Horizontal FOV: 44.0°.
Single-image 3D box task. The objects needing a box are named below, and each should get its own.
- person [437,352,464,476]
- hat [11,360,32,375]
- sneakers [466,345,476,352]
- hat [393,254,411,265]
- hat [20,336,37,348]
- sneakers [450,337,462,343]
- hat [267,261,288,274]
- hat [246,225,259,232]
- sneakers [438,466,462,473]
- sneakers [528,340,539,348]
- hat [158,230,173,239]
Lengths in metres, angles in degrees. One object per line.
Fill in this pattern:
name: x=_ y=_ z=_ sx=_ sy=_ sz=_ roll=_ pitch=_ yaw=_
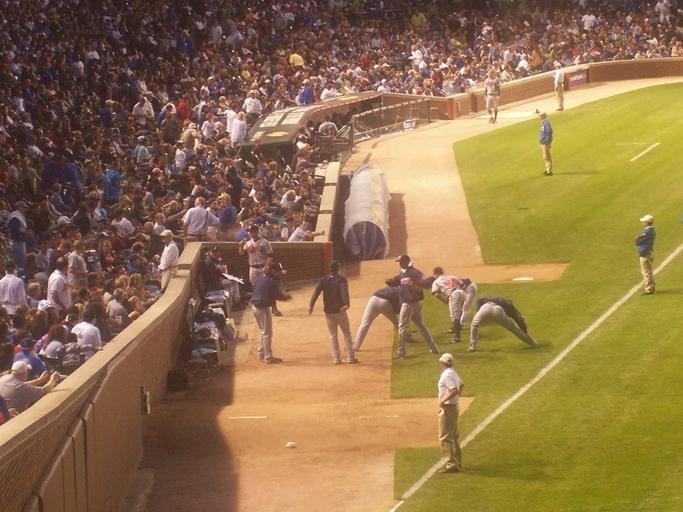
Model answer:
person: x=2.018 y=2.921 z=15.672 sx=0.428 sy=2.224 sz=0.367 roll=-1 pitch=9 yaw=6
hat: x=-5.974 y=2.053 z=15.754 sx=0.226 sy=0.190 sz=0.343 roll=1 pitch=4 yaw=2
sneakers: x=3.213 y=2.282 z=21.003 sx=0.184 sy=0.180 sz=0.099 roll=6 pitch=10 yaw=22
hat: x=1.478 y=0.123 z=20.835 sx=0.397 sy=0.342 sz=0.291 roll=9 pitch=15 yaw=25
hat: x=-6.417 y=1.770 z=17.164 sx=0.247 sy=0.236 sz=0.301 roll=-7 pitch=10 yaw=-26
sneakers: x=2.922 y=2.118 z=21.812 sx=0.303 sy=0.149 sz=0.238 roll=3 pitch=10 yaw=31
hat: x=-1.767 y=0.279 z=22.720 sx=0.344 sy=0.336 sz=0.273 roll=-17 pitch=16 yaw=-27
hat: x=-2.527 y=-0.792 z=24.002 sx=0.257 sy=0.258 sz=0.466 roll=-3 pitch=9 yaw=-4
sneakers: x=2.050 y=3.961 z=15.879 sx=0.330 sy=0.138 sz=0.158 roll=3 pitch=6 yaw=0
sneakers: x=4.810 y=2.144 z=21.083 sx=0.228 sy=0.203 sz=0.399 roll=0 pitch=9 yaw=13
hat: x=-4.803 y=-0.608 z=23.091 sx=0.320 sy=0.165 sz=0.234 roll=18 pitch=-12 yaw=-35
